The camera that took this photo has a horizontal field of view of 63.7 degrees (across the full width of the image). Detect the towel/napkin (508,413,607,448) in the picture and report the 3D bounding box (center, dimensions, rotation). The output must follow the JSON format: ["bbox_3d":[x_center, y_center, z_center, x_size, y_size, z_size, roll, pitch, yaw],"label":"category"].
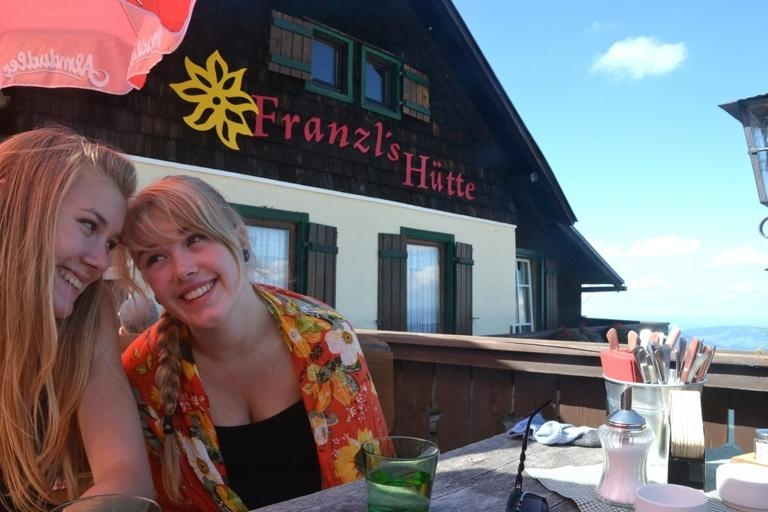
[{"bbox_3d":[0.788,0.799,2.809,0.289,0.090,0.208,-1,-10,21],"label":"towel/napkin"}]
